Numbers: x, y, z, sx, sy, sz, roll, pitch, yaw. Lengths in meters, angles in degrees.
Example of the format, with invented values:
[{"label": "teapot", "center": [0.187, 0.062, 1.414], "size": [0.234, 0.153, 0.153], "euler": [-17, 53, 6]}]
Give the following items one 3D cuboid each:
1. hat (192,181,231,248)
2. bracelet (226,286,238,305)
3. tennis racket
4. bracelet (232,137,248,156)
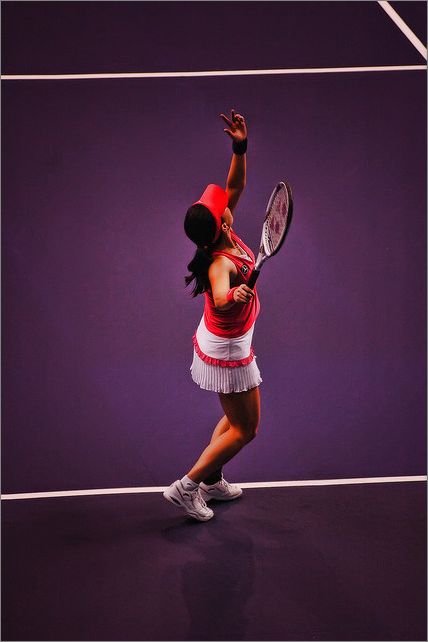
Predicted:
[{"label": "hat", "center": [-0.014, -0.386, 2.238], "size": [0.113, 0.203, 0.159], "euler": [0, 12, 5]}, {"label": "bracelet", "center": [0.052, -0.078, 1.955], "size": [0.034, 0.044, 0.022], "euler": [5, 18, -26]}, {"label": "tennis racket", "center": [0.214, -0.355, 2.449], "size": [0.043, 0.526, 0.210], "euler": [15, 60, -8]}, {"label": "bracelet", "center": [0.099, -0.677, 2.379], "size": [0.056, 0.059, 0.059], "euler": [6, 56, 1]}]
